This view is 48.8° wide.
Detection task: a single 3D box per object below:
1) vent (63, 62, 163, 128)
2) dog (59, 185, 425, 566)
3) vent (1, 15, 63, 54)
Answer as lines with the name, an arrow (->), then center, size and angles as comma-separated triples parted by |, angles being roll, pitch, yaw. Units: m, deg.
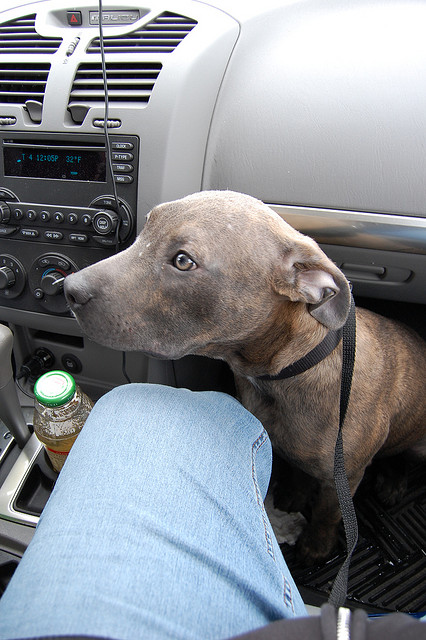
vent -> -0.289, -0.635, 1.333 | 0.286, 0.164, 0.121 | 12, 43, 14
dog -> 0.364, -0.208, 1.704 | 1.784, 1.115, 0.572 | -19, 36, -37
vent -> -0.565, -0.872, 1.441 | 0.241, 0.082, 0.147 | 6, 42, 7
